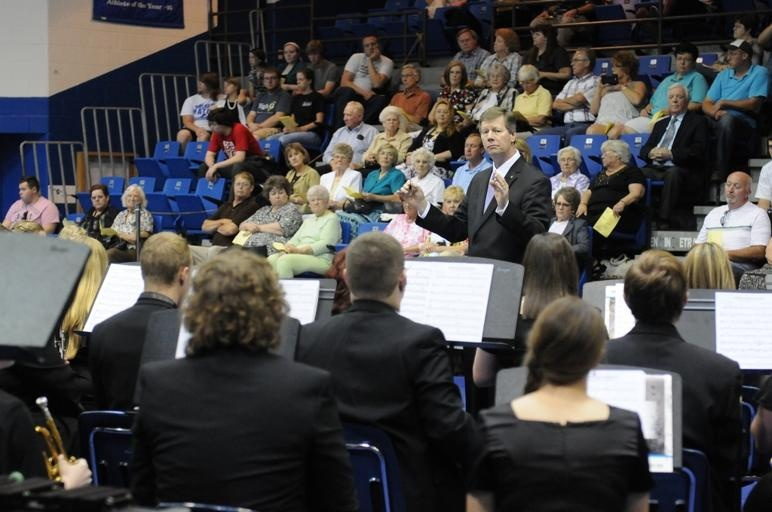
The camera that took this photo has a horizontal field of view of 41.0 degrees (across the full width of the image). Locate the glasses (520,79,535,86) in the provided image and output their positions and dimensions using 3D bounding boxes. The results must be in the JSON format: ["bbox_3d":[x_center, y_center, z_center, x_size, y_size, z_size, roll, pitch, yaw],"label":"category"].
[{"bbox_3d":[1.515,-1.861,11.023,0.068,0.033,0.093,-3,-7,37],"label":"glasses"}]

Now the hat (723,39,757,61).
[{"bbox_3d":[3.524,-2.068,10.143,0.315,0.153,0.213,16,3,-1],"label":"hat"}]

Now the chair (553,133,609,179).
[{"bbox_3d":[1.988,-1.002,10.307,0.440,0.468,0.422,3,2,40],"label":"chair"}]

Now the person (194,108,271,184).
[{"bbox_3d":[-1.669,-1.250,11.590,0.594,0.869,0.940,-4,6,-31],"label":"person"}]

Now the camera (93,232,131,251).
[{"bbox_3d":[-2.968,-0.159,11.058,0.301,0.137,0.363,6,-6,-42],"label":"camera"}]

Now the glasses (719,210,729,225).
[{"bbox_3d":[3.005,-0.345,9.171,0.049,0.113,0.084,14,-3,-10],"label":"glasses"}]

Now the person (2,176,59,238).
[{"bbox_3d":[-4.275,-0.631,12.486,0.605,0.685,0.813,-5,6,-35],"label":"person"}]

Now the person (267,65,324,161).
[{"bbox_3d":[-1.093,-1.571,12.452,0.735,1.290,0.594,-11,17,-42],"label":"person"}]

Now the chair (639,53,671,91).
[{"bbox_3d":[2.961,-2.040,11.376,0.356,0.442,0.397,3,6,38],"label":"chair"}]

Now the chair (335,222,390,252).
[{"bbox_3d":[-0.247,-0.232,10.019,0.393,0.431,0.372,1,-6,-18],"label":"chair"}]

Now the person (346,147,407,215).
[{"bbox_3d":[-0.095,-0.769,10.478,0.591,0.753,0.622,6,3,23],"label":"person"}]

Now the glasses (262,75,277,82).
[{"bbox_3d":[-1.434,-2.217,12.790,0.161,0.079,0.197,-1,0,-1],"label":"glasses"}]

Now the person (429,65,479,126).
[{"bbox_3d":[0.757,-1.810,11.554,0.547,0.705,0.514,7,18,20],"label":"person"}]

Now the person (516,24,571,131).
[{"bbox_3d":[1.718,-2.033,11.665,0.584,1.140,0.556,14,26,25],"label":"person"}]

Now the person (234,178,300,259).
[{"bbox_3d":[-1.172,-0.398,10.307,0.616,0.800,0.620,5,9,42],"label":"person"}]

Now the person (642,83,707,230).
[{"bbox_3d":[2.756,-0.959,9.857,0.626,1.378,0.569,-3,6,-18],"label":"person"}]

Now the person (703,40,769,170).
[{"bbox_3d":[3.379,-1.456,9.954,0.607,1.352,0.780,0,5,16],"label":"person"}]

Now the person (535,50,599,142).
[{"bbox_3d":[2.004,-1.677,11.232,0.707,1.256,0.534,3,37,15],"label":"person"}]

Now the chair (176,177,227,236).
[{"bbox_3d":[-2.103,-0.574,11.737,0.676,0.714,0.627,4,3,23],"label":"chair"}]

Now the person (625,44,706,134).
[{"bbox_3d":[2.842,-1.602,10.438,0.859,1.018,0.645,-16,20,-41],"label":"person"}]

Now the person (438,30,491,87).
[{"bbox_3d":[0.994,-2.217,12.416,0.518,1.011,0.370,6,28,24],"label":"person"}]

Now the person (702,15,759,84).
[{"bbox_3d":[3.553,-2.166,10.750,0.771,0.751,0.481,2,8,-1],"label":"person"}]

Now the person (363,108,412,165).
[{"bbox_3d":[0.040,-1.282,11.234,0.555,0.702,0.589,-3,10,-14],"label":"person"}]

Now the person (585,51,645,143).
[{"bbox_3d":[2.348,-1.455,10.637,0.534,1.251,0.720,8,10,29],"label":"person"}]

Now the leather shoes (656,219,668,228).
[{"bbox_3d":[2.593,-0.303,9.664,0.109,0.082,0.140,0,5,13],"label":"leather shoes"}]
